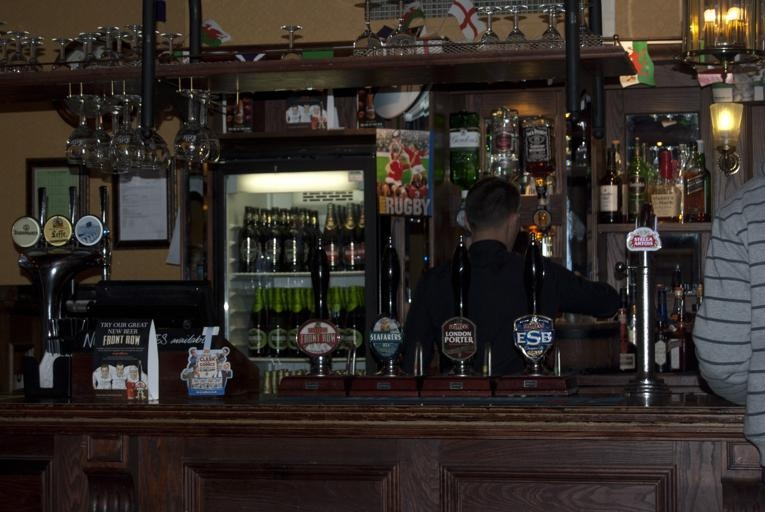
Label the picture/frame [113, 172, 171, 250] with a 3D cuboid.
[{"bbox_3d":[-1.459,-0.278,9.631,0.417,0.541,0.038,-1,-3,11],"label":"picture/frame"}]

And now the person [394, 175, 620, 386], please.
[{"bbox_3d":[0.615,0.126,8.076,0.913,1.759,0.638,1,8,14],"label":"person"}]

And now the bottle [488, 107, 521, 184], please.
[{"bbox_3d":[0.653,-0.593,8.454,0.173,0.407,0.423,-3,0,4],"label":"bottle"}]

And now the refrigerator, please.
[{"bbox_3d":[-0.512,-0.024,9.424,1.004,1.497,0.601,-3,0,1],"label":"refrigerator"}]

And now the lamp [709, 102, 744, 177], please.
[{"bbox_3d":[1.964,-0.675,8.951,0.167,0.410,0.223,-3,0,13],"label":"lamp"}]

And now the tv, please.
[{"bbox_3d":[-1.125,0.268,7.641,0.621,0.322,0.357,-3,0,-7],"label":"tv"}]

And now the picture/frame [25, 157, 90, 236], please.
[{"bbox_3d":[-1.877,-0.344,9.127,0.437,0.480,0.037,-2,-8,9],"label":"picture/frame"}]
